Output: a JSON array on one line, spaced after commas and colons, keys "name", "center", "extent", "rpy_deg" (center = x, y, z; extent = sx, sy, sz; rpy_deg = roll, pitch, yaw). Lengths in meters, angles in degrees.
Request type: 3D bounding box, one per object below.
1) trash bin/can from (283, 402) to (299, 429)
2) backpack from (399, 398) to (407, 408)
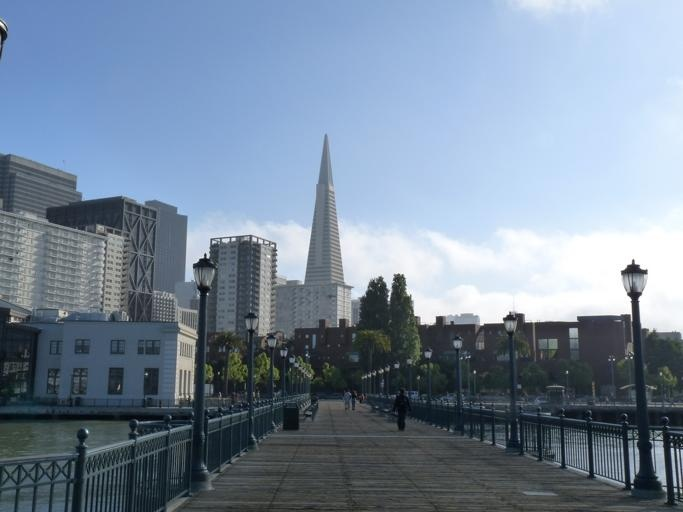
[{"name": "trash bin/can", "center": [-2.688, 8.586, 35.382], "extent": [0.927, 1.987, 0.979], "rpy_deg": [0, -16, -1]}, {"name": "backpack", "center": [3.174, 7.531, 34.088], "extent": [0.351, 0.790, 0.499], "rpy_deg": [-8, -4, 10]}]
